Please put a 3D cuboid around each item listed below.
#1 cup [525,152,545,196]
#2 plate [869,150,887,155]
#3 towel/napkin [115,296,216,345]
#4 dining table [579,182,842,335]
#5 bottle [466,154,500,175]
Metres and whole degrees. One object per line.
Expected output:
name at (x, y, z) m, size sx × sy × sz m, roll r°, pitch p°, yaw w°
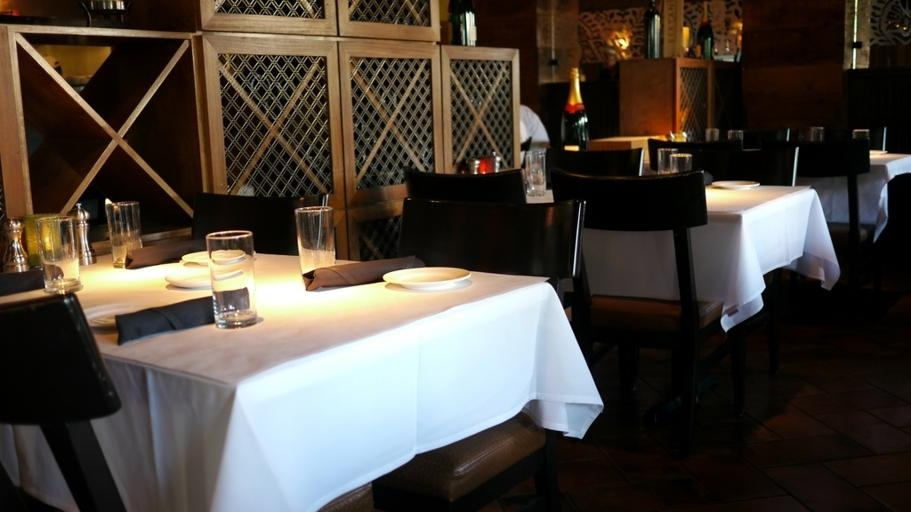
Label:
cup at (0.452, -0.472, 3.863) m, size 0.113 × 0.249 × 0.187 m, roll -3°, pitch 11°, yaw 5°
plate at (3.265, -0.807, 5.262) m, size 0.159 × 0.039 × 0.161 m, roll -3°, pitch 9°, yaw -15°
towel/napkin at (-0.881, 0.214, 2.060) m, size 0.301 × 0.110 × 0.075 m, roll -14°, pitch -8°, yaw -27°
dining table at (1.353, -0.079, 3.397) m, size 0.910 × 0.459 × 0.888 m, roll 7°, pitch 22°, yaw 38°
bottle at (0.157, -0.523, 3.894) m, size 0.217 × 0.153 × 0.119 m, roll -3°, pitch 2°, yaw -28°
